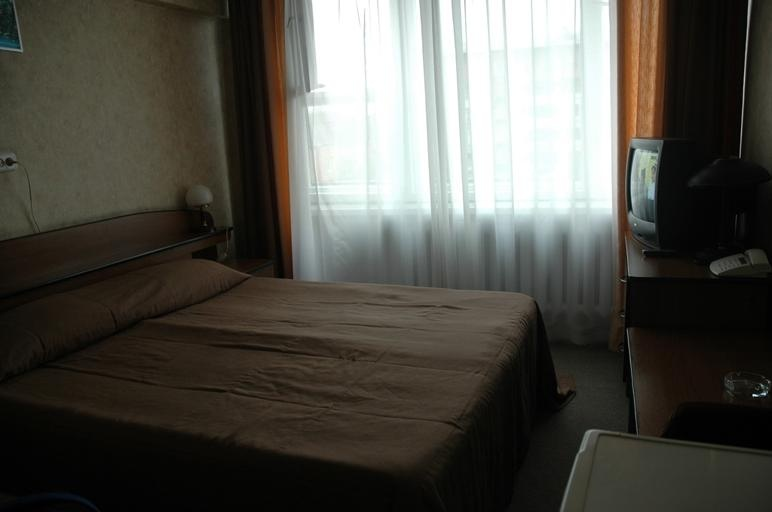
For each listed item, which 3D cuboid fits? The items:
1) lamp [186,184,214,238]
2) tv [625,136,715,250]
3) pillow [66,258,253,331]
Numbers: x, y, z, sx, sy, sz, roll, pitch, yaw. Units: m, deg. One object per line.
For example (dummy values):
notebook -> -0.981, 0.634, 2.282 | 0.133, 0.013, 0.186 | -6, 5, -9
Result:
lamp -> -1.469, -0.393, 4.454 | 0.219, 0.399, 0.190 | 6, 7, 43
tv -> 1.783, -0.433, 3.531 | 0.384, 0.615, 0.659 | -2, 12, 3
pillow -> -1.402, 0.222, 3.535 | 0.359, 0.133, 0.671 | 7, 18, 17
